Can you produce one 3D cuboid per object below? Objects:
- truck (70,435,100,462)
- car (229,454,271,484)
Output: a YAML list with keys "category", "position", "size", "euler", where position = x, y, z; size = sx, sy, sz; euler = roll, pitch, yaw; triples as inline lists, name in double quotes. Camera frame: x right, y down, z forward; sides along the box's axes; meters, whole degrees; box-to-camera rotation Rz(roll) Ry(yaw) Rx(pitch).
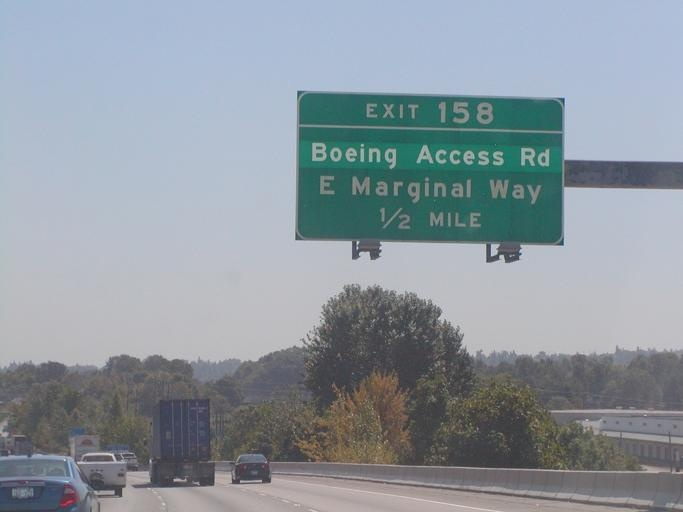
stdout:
- category: "truck"
  position: [-35.786, 28.291, 221.550]
  size: [3.230, 5.080, 6.066]
  euler: [-1, -1, -13]
- category: "car"
  position: [-10.770, 25.341, 189.000]
  size: [4.648, 3.416, 2.498]
  euler: [0, -11, -1]
